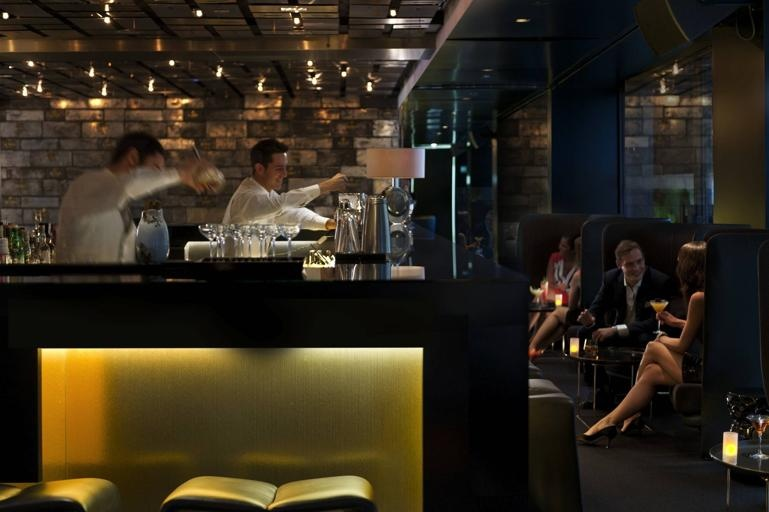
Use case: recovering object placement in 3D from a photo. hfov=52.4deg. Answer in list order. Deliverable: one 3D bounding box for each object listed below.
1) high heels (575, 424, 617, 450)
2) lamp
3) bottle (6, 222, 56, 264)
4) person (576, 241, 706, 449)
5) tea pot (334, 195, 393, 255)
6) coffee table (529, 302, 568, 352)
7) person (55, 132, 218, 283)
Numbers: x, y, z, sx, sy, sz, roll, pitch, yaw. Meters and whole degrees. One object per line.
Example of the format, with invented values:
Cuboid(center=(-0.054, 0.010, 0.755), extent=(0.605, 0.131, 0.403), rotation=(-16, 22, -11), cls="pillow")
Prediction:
Cuboid(center=(1.648, 1.381, 5.956), extent=(0.374, 0.171, 0.126), rotation=(4, -3, 8), cls="high heels")
Cuboid(center=(0.064, -0.599, 7.101), extent=(0.476, 0.531, 0.462), rotation=(6, 22, -4), cls="lamp")
Cuboid(center=(-2.875, -0.089, 6.317), extent=(0.368, 0.361, 0.374), rotation=(1, 5, 14), cls="bottle")
Cuboid(center=(2.079, 0.651, 6.159), extent=(0.844, 1.497, 0.885), rotation=(-1, 3, 23), cls="person")
Cuboid(center=(-0.086, -0.169, 4.531), extent=(0.404, 0.406, 0.232), rotation=(0, 2, 4), cls="tea pot")
Cuboid(center=(1.693, 0.777, 8.087), extent=(0.421, 0.511, 0.443), rotation=(-2, 2, 2), cls="coffee table")
Cuboid(center=(-1.486, -0.358, 4.579), extent=(0.901, 0.781, 0.555), rotation=(-2, 2, -9), cls="person")
